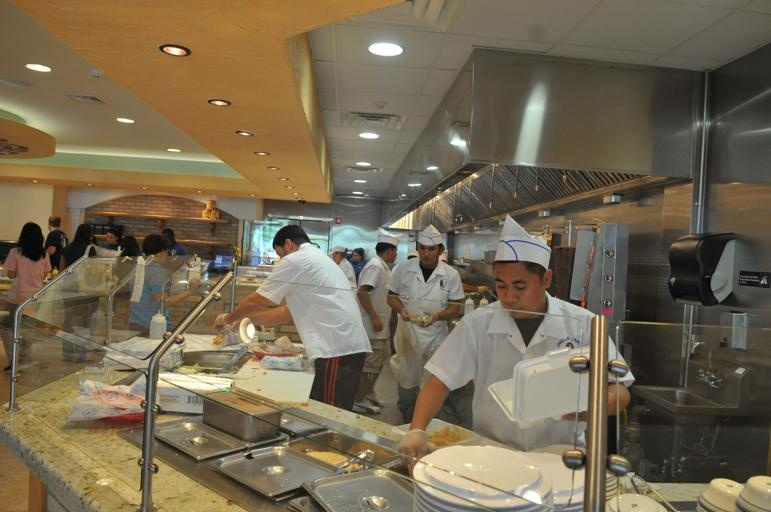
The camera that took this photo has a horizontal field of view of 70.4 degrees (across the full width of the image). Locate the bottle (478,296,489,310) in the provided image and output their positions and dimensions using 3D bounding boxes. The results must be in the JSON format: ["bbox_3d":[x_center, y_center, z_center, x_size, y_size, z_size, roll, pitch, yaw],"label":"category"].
[{"bbox_3d":[0.353,0.169,1.979,0.022,0.036,0.037,-17,-30,25],"label":"bottle"}]

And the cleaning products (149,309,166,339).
[{"bbox_3d":[-1.041,0.316,2.492,0.048,0.130,0.126,1,0,-45],"label":"cleaning products"}]

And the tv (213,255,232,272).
[{"bbox_3d":[-2.304,0.085,7.700,0.202,0.178,0.140,4,-16,-3],"label":"tv"}]

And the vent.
[{"bbox_3d":[1.275,-0.874,4.694,1.652,1.089,2.000,1,0,-7],"label":"vent"}]

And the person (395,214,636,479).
[{"bbox_3d":[0.455,0.267,1.846,0.698,0.805,0.513,1,0,23],"label":"person"}]

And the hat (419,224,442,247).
[{"bbox_3d":[0.350,-0.148,4.206,0.141,0.117,0.199,0,-6,3],"label":"hat"}]

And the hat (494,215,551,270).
[{"bbox_3d":[0.530,-0.043,2.099,0.282,0.155,0.192,12,-10,-42],"label":"hat"}]

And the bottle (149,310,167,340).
[{"bbox_3d":[-1.043,0.316,2.494,0.121,0.130,0.047,1,0,43],"label":"bottle"}]

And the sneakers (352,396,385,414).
[{"bbox_3d":[-0.059,0.523,1.909,0.118,0.050,0.043,0,-7,9],"label":"sneakers"}]

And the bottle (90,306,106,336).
[{"bbox_3d":[-1.455,0.333,2.759,0.036,0.150,0.178,1,0,-41],"label":"bottle"}]

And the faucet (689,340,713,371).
[{"bbox_3d":[1.269,0.378,2.199,0.105,0.131,0.145,-1,-1,38],"label":"faucet"}]
